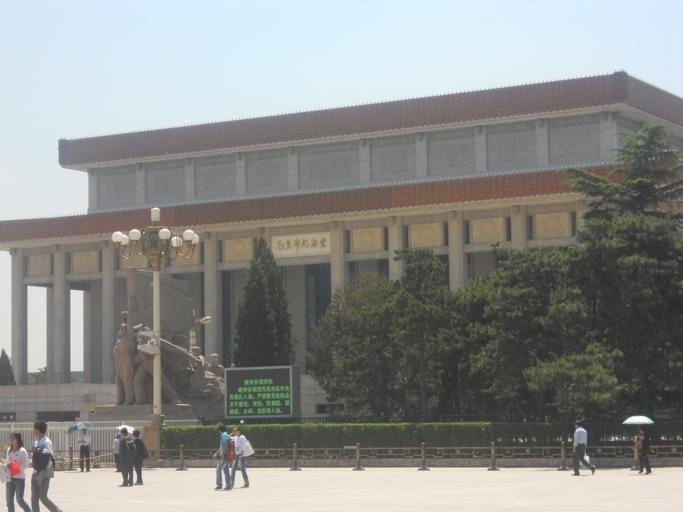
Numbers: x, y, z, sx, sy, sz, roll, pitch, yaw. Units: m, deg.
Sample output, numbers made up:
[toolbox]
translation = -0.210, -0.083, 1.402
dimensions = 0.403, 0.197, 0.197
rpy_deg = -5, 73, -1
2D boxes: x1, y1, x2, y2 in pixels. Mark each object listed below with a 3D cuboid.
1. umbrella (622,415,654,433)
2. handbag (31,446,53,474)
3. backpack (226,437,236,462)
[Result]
[umbrella]
translation = 14.092, 8.251, 100.184
dimensions = 0.964, 0.652, 0.993
rpy_deg = 0, 3, -43
[handbag]
translation = -12.352, 8.553, 86.722
dimensions = 1.007, 0.940, 0.710
rpy_deg = -1, -3, 12
[backpack]
translation = -4.970, 8.684, 93.533
dimensions = 0.365, 1.002, 0.509
rpy_deg = -7, -10, 29
